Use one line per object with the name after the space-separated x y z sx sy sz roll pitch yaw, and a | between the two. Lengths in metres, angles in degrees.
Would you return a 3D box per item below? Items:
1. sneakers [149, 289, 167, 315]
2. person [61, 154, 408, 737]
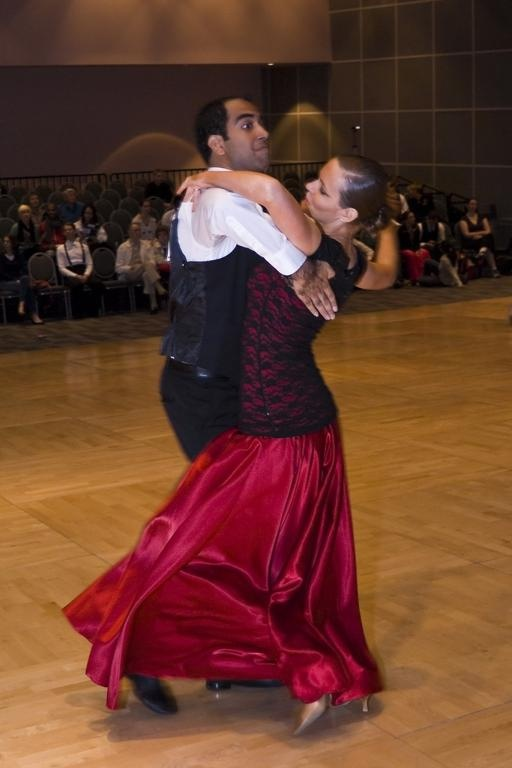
-1.678 -1.419 10.533 0.199 0.241 0.585 -3 -13 -9 | sneakers
-0.053 0.172 1.323 0.691 1.223 0.632 -1 -3 14 | person
